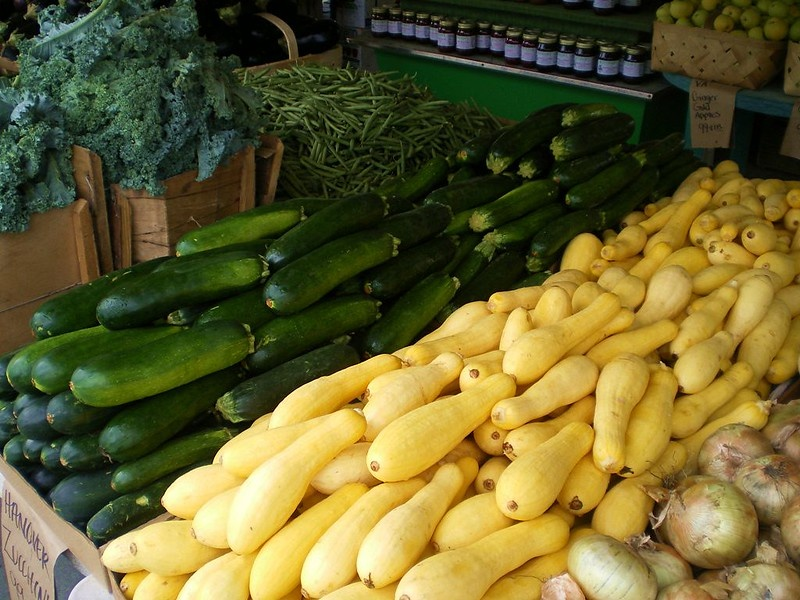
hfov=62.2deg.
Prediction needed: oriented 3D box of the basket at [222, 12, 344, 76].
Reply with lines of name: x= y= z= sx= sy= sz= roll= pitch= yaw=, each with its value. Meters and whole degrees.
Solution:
basket: x=-1.022 y=-2.461 z=6.394 sx=1.512 sy=0.480 sz=0.646 roll=-9 pitch=25 yaw=-8

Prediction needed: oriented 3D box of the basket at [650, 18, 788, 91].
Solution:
basket: x=2.461 y=-1.924 z=5.293 sx=0.909 sy=0.299 sz=0.684 roll=13 pitch=24 yaw=34
